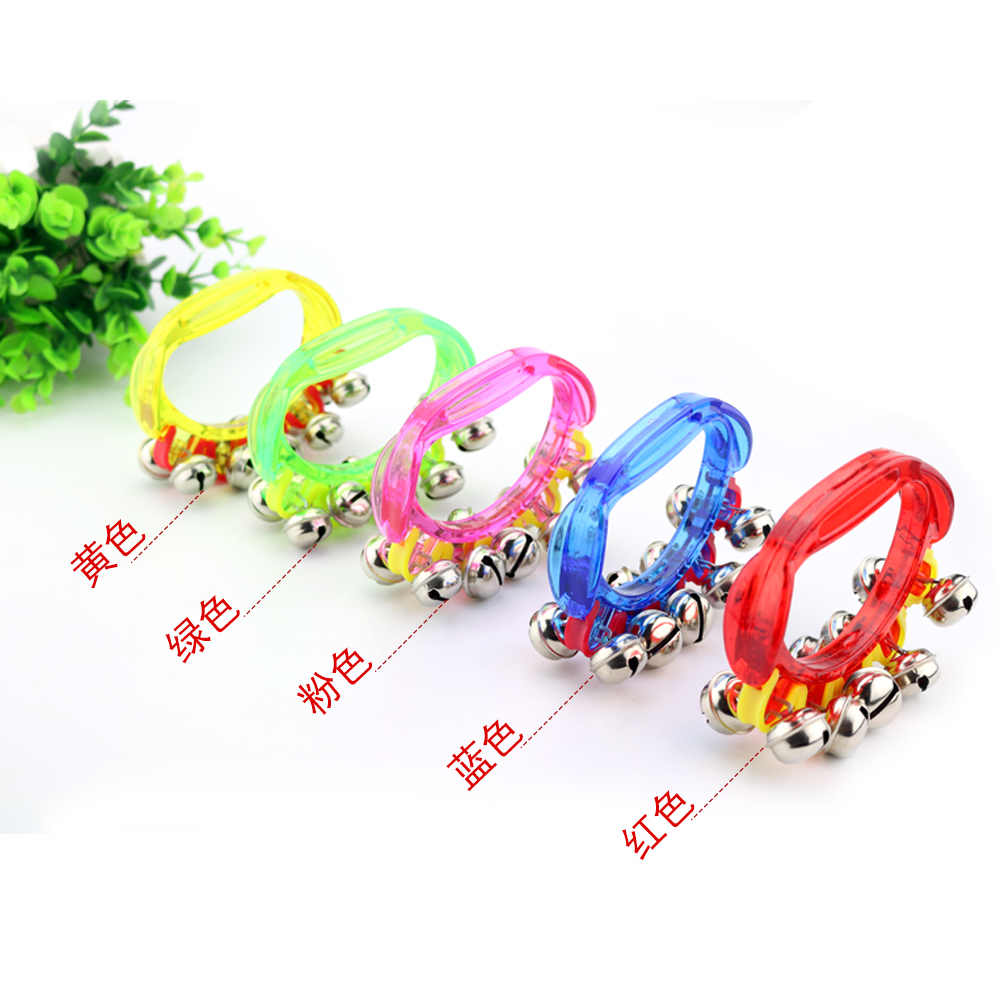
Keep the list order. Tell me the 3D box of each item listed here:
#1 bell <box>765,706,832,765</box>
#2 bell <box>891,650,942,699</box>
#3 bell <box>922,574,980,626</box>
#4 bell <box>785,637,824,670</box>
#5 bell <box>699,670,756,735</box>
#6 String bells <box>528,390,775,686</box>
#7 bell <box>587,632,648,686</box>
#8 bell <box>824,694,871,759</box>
[{"bbox_3d":[0.578,0.460,2.208,0.104,0.116,0.065,-29,75,8],"label":"bell"},{"bbox_3d":[0.884,0.369,2.398,0.064,0.098,0.105,50,22,2],"label":"bell"},{"bbox_3d":[0.979,0.221,2.510,0.114,0.114,0.066,-38,58,-1],"label":"bell"},{"bbox_3d":[0.648,0.322,2.404,0.076,0.032,0.053,-30,46,-12],"label":"bell"},{"bbox_3d":[0.456,0.421,2.324,0.119,0.069,0.111,-44,106,-38],"label":"bell"},{"bbox_3d":[0.329,0.127,2.472,0.536,0.475,0.228,-39,53,-24],"label":"String bells"},{"bbox_3d":[0.254,0.340,2.393,0.118,0.059,0.092,-21,32,-1],"label":"bell"},{"bbox_3d":[0.700,0.461,2.280,0.073,0.122,0.090,19,35,38],"label":"bell"}]
